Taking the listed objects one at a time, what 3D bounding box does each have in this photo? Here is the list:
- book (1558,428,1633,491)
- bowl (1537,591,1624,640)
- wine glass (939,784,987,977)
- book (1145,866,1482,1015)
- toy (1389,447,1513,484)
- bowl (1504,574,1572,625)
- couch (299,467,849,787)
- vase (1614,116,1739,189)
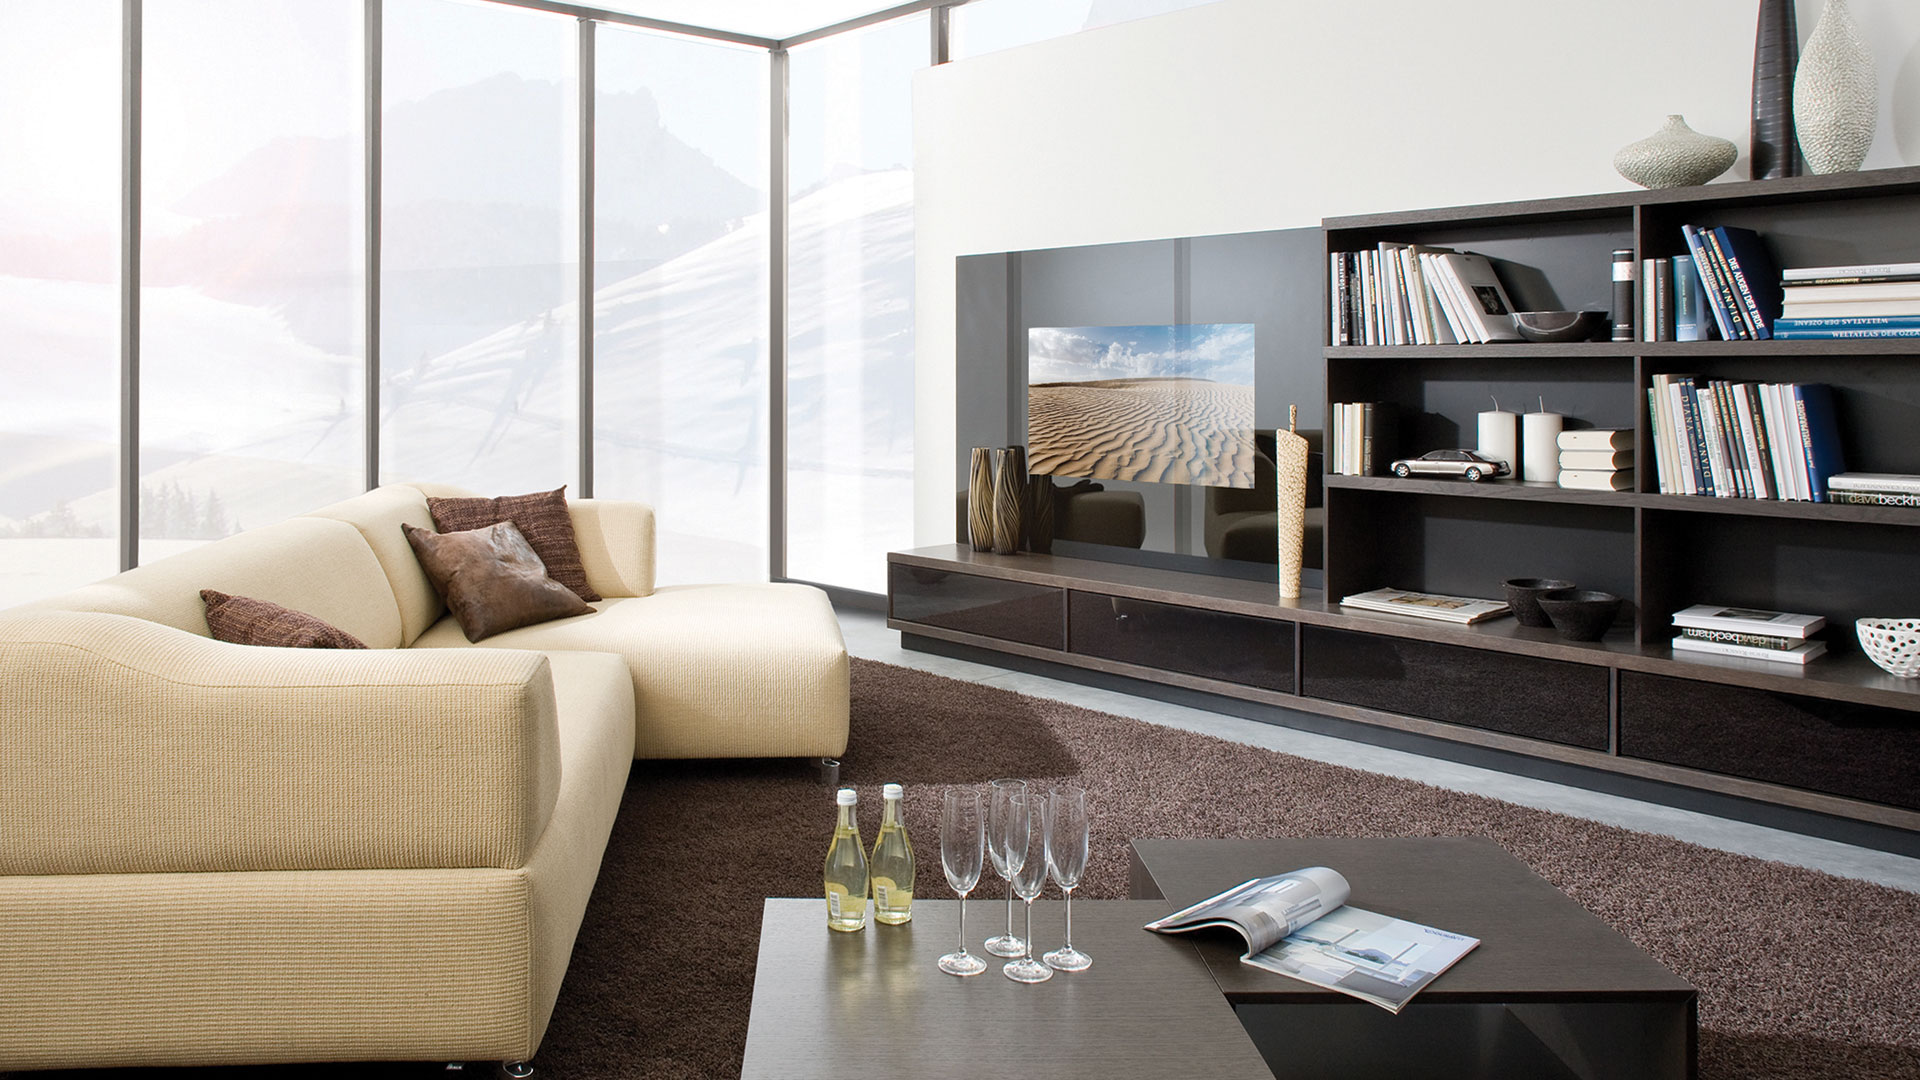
[{"bbox_3d":[2.584,-0.331,5.266,0.301,0.185,0.283,-3,5,-33],"label":"book"},{"bbox_3d":[2.558,0.307,5.176,0.261,0.119,0.244,0,2,0],"label":"bowl"},{"bbox_3d":[0.001,0.880,3.351,0.140,0.481,0.301,-2,3,-2],"label":"wine glass"},{"bbox_3d":[0.997,1.066,3.352,0.575,0.070,0.440,10,16,40],"label":"book"},{"bbox_3d":[2.123,-0.337,5.469,0.425,0.105,0.174,8,10,32],"label":"toy"},{"bbox_3d":[2.448,0.253,5.371,0.228,0.135,0.220,2,3,0],"label":"bowl"},{"bbox_3d":[-1.402,0.383,5.656,1.919,0.902,1.292,0,5,6],"label":"couch"},{"bbox_3d":[2.814,-1.498,5.022,0.432,0.203,0.357,1,12,23],"label":"vase"}]
